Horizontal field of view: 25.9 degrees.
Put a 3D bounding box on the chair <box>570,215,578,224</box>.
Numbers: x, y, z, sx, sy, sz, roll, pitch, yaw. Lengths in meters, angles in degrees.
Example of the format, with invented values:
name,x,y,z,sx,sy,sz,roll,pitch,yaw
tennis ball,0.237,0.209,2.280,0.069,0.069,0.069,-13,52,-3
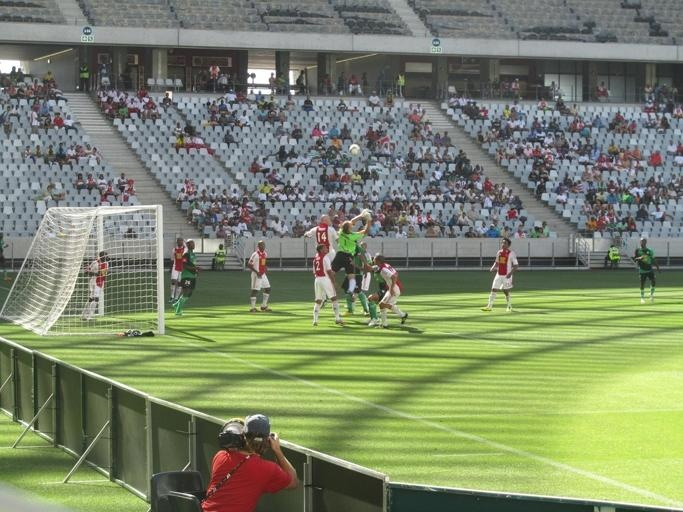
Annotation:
name,x,y,z,sx,sy,sz,roll,pitch,yaw
chair,10.440,-1.625,66.808,0.352,0.284,0.203,1,-9,-8

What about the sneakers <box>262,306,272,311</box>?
name,x,y,z,sx,sy,sz,roll,pitch,yaw
sneakers,-2.502,1.726,49.357,0.310,0.144,0.116,1,11,-2

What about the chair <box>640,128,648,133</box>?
name,x,y,z,sx,sy,sz,roll,pitch,yaw
chair,14.996,-6.217,74.069,0.258,0.212,0.271,4,11,29

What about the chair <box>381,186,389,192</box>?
name,x,y,z,sx,sy,sz,roll,pitch,yaw
chair,1.942,-3.015,67.017,0.332,0.196,0.635,2,12,0

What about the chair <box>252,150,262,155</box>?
name,x,y,z,sx,sy,sz,roll,pitch,yaw
chair,-3.913,-4.731,67.948,0.270,0.207,0.218,-3,0,32

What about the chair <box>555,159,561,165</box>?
name,x,y,z,sx,sy,sz,roll,pitch,yaw
chair,10.229,-4.492,70.768,0.319,0.239,0.636,6,13,19

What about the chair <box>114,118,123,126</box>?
name,x,y,z,sx,sy,sz,roll,pitch,yaw
chair,-10.202,-6.084,67.857,0.274,0.331,0.415,2,-6,-23

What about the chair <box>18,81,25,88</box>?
name,x,y,z,sx,sy,sz,roll,pitch,yaw
chair,-14.730,-7.850,68.356,0.285,0.415,0.310,0,2,-39

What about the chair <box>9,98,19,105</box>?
name,x,y,z,sx,sy,sz,roll,pitch,yaw
chair,-14.812,-6.942,67.112,0.319,0.252,0.295,2,-1,-14

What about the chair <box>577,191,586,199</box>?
name,x,y,z,sx,sy,sz,roll,pitch,yaw
chair,11.034,-2.812,68.552,0.585,0.274,0.387,-9,16,-41

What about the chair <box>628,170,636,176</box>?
name,x,y,z,sx,sy,sz,roll,pitch,yaw
chair,13.770,-3.967,70.709,0.238,0.125,0.342,1,33,11

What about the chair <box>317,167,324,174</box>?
name,x,y,z,sx,sy,sz,roll,pitch,yaw
chair,-0.970,-3.851,67.425,0.288,0.214,0.200,10,-14,-41

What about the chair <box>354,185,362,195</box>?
name,x,y,z,sx,sy,sz,roll,pitch,yaw
chair,0.735,-2.965,66.678,0.428,0.330,0.602,0,12,-7

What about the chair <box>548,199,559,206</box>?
name,x,y,z,sx,sy,sz,roll,pitch,yaw
chair,9.612,-2.453,67.814,0.257,0.205,0.269,-1,-1,29

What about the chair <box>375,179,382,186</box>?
name,x,y,z,sx,sy,sz,roll,pitch,yaw
chair,1.674,-3.325,67.435,0.390,0.407,0.218,3,-13,-12

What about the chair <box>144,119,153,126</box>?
name,x,y,z,sx,sy,sz,roll,pitch,yaw
chair,-8.822,-6.131,68.171,0.324,0.408,0.311,3,12,21

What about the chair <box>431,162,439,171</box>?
name,x,y,z,sx,sy,sz,roll,pitch,yaw
chair,4.238,-4.157,69.030,0.284,0.409,0.317,-1,2,-37

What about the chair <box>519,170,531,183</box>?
name,x,y,z,sx,sy,sz,roll,pitch,yaw
chair,8.491,-3.693,69.210,0.441,0.624,0.501,0,-2,6

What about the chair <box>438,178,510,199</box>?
name,x,y,z,sx,sy,sz,roll,pitch,yaw
chair,5.938,-3.054,67.517,3.062,0.683,1.121,4,12,9

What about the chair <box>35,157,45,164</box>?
name,x,y,z,sx,sy,sz,roll,pitch,yaw
chair,-12.974,-4.112,64.054,0.399,0.233,0.205,-2,12,-19

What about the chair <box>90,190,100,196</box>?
name,x,y,z,sx,sy,sz,roll,pitch,yaw
chair,-10.478,-2.699,63.071,0.394,0.223,0.222,-2,12,-19

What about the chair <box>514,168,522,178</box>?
name,x,y,z,sx,sy,sz,roll,pitch,yaw
chair,8.186,-3.854,69.395,0.448,0.472,0.255,1,-11,-1

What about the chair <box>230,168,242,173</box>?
name,x,y,z,sx,sy,sz,roll,pitch,yaw
chair,-4.719,-3.853,66.660,0.372,0.162,0.205,-6,14,-33

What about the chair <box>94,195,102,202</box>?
name,x,y,z,sx,sy,sz,roll,pitch,yaw
chair,-10.329,-2.457,62.935,0.191,0.153,0.201,-1,-7,8

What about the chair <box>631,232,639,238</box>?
name,x,y,z,sx,sy,sz,roll,pitch,yaw
chair,13.023,-0.942,66.306,0.274,0.180,0.283,3,8,42

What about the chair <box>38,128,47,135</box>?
name,x,y,z,sx,sy,sz,roll,pitch,yaw
chair,-13.235,-5.513,65.987,0.429,0.330,0.234,1,-10,-30

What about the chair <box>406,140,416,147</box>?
name,x,y,z,sx,sy,sz,roll,pitch,yaw
chair,3.257,-5.314,70.419,0.267,0.396,0.316,1,-2,1

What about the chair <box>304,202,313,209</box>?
name,x,y,z,sx,sy,sz,roll,pitch,yaw
chair,-1.459,-2.217,65.372,0.423,0.263,0.406,1,12,-6

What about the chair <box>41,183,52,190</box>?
name,x,y,z,sx,sy,sz,roll,pitch,yaw
chair,-12.499,-2.944,62.796,0.294,0.184,0.413,-1,-3,-1

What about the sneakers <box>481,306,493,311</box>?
name,x,y,z,sx,sy,sz,roll,pitch,yaw
sneakers,4.835,1.735,49.726,0.365,0.179,0.137,2,-1,-5

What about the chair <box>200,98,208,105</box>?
name,x,y,z,sx,sy,sz,roll,pitch,yaw
chair,-6.530,-7.305,70.490,0.298,0.358,0.291,-2,10,-20

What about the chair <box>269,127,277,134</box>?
name,x,y,z,sx,sy,sz,roll,pitch,yaw
chair,-3.199,-5.839,69.399,0.315,0.245,0.331,-1,1,24

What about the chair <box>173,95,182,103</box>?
name,x,y,z,sx,sy,sz,roll,pitch,yaw
chair,-7.757,-7.397,70.256,0.389,0.530,0.410,0,2,-10

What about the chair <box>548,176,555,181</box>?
name,x,y,z,sx,sy,sz,roll,pitch,yaw
chair,9.814,-3.598,69.495,0.287,0.214,0.170,11,21,22

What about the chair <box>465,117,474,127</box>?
name,x,y,z,sx,sy,sz,roll,pitch,yaw
chair,6.279,-6.544,72.679,0.309,0.549,0.365,0,-2,-6

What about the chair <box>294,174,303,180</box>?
name,x,y,z,sx,sy,sz,roll,pitch,yaw
chair,-1.998,-3.557,66.950,0.383,0.270,0.413,11,15,38

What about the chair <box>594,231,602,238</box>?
name,x,y,z,sx,sy,sz,roll,pitch,yaw
chair,11.379,-0.984,66.062,0.467,0.234,0.190,-5,13,-29

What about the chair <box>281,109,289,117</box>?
name,x,y,z,sx,sy,sz,roll,pitch,yaw
chair,-2.736,-6.757,70.557,0.240,0.235,0.316,-1,-6,7

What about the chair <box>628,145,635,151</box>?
name,x,y,z,sx,sy,sz,roll,pitch,yaw
chair,14.120,-5.261,72.652,0.256,0.270,0.144,2,16,6

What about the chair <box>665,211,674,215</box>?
name,x,y,z,sx,sy,sz,roll,pitch,yaw
chair,14.978,-1.951,68.121,0.233,0.175,0.239,-5,8,-35

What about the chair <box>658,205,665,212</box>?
name,x,y,z,sx,sy,sz,roll,pitch,yaw
chair,14.651,-2.205,68.330,0.261,0.280,0.142,3,8,18

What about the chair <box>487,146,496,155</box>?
name,x,y,z,sx,sy,sz,roll,pitch,yaw
chair,7.156,-4.964,70.489,0.446,0.451,0.658,0,12,-9

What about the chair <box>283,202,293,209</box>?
name,x,y,z,sx,sy,sz,roll,pitch,yaw
chair,-2.341,-2.226,65.114,0.390,0.236,0.380,0,12,-7

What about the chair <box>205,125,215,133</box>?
name,x,y,z,sx,sy,sz,roll,pitch,yaw
chair,-6.078,-5.831,68.476,0.280,0.433,0.304,0,2,-17

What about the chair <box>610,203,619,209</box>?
name,x,y,z,sx,sy,sz,roll,pitch,yaw
chair,12.473,-2.294,68.065,0.257,0.211,0.271,0,3,23

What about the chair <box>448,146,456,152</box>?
name,x,y,z,sx,sy,sz,roll,pitch,yaw
chair,5.207,-5.000,70.226,0.288,0.402,0.308,1,2,-8

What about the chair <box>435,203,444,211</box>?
name,x,y,z,sx,sy,sz,roll,pitch,yaw
chair,4.329,-2.197,66.468,0.282,0.405,0.323,1,-4,-2

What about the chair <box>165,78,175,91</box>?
name,x,y,z,sx,sy,sz,roll,pitch,yaw
chair,-8.250,-8.190,71.172,0.426,0.635,0.501,1,1,-12

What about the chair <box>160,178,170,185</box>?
name,x,y,z,sx,sy,sz,roll,pitch,yaw
chair,-7.745,-3.268,64.937,0.329,0.242,0.405,9,14,30

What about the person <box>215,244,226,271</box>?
name,x,y,z,sx,sy,sz,roll,pitch,yaw
person,-5.056,0.037,61.398,0.438,1.146,0.666,0,12,-6

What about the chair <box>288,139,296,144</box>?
name,x,y,z,sx,sy,sz,roll,pitch,yaw
chair,-2.287,-5.300,68.941,0.226,0.183,0.237,-1,1,16

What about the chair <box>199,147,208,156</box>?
name,x,y,z,sx,sy,sz,roll,pitch,yaw
chair,-6.235,-4.689,67.034,0.325,0.530,0.368,2,6,-14

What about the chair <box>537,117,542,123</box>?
name,x,y,z,sx,sy,sz,roll,pitch,yaw
chair,9.711,-6.712,73.527,0.280,0.301,0.166,-14,-10,10
